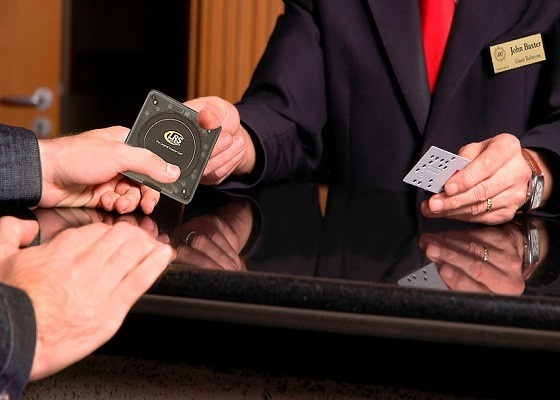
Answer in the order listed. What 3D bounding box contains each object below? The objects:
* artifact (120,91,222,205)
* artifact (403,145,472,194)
[{"bbox_3d":[-0.194,-0.095,0.764,0.149,0.147,0.128,10,41,19],"label":"artifact"},{"bbox_3d":[0.302,-0.058,0.830,0.096,0.038,0.115,21,47,28],"label":"artifact"}]
